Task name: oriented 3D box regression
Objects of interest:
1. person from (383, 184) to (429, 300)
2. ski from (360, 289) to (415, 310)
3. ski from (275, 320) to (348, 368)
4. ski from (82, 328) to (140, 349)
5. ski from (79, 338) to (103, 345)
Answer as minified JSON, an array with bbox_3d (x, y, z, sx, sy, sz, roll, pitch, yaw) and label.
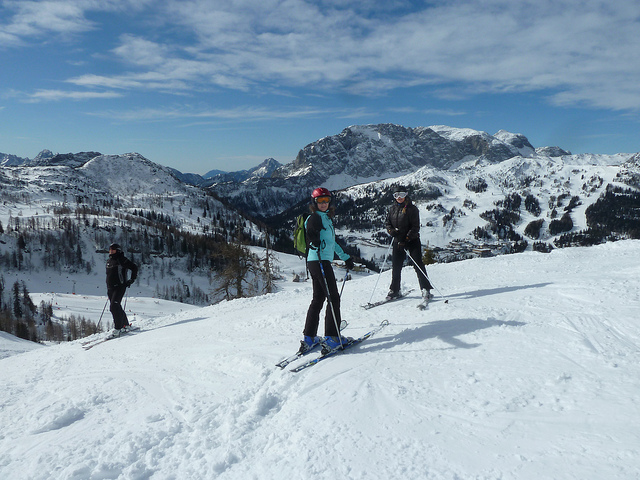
[{"bbox_3d":[2.321,0.059,14.874,0.903,2.828,1.263,-14,4,-43],"label":"person"},{"bbox_3d":[1.996,1.735,15.380,1.984,0.090,0.195,-11,22,-22],"label":"ski"},{"bbox_3d":[-0.176,2.407,12.095,0.285,0.140,1.938,31,39,27],"label":"ski"},{"bbox_3d":[-6.694,3.143,16.944,0.272,0.116,3.058,-10,2,9],"label":"ski"},{"bbox_3d":[-7.326,3.250,16.810,0.108,0.060,0.769,22,8,16],"label":"ski"}]
